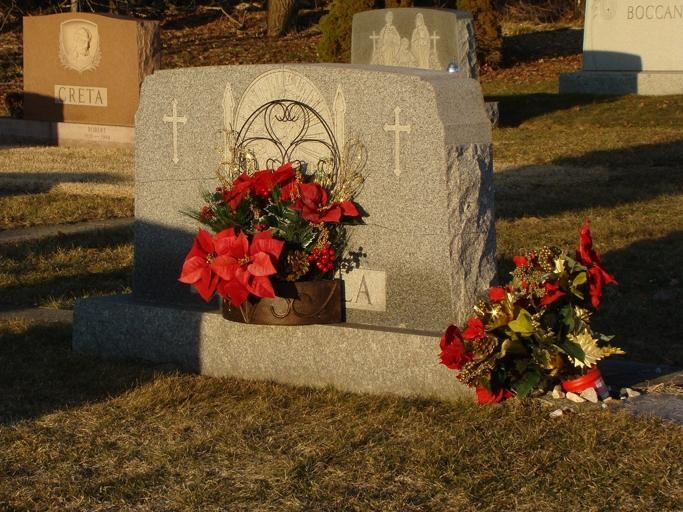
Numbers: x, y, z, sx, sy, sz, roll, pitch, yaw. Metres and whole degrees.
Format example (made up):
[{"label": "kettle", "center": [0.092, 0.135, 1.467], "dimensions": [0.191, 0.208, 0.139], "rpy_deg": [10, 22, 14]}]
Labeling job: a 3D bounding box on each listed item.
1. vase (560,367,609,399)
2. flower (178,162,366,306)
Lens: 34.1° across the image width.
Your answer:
[{"label": "vase", "center": [2.113, 1.110, 9.730], "dimensions": [0.312, 0.261, 0.340], "rpy_deg": [-19, 12, 27]}, {"label": "flower", "center": [-0.682, -0.231, 10.070], "dimensions": [1.326, 1.439, 0.811], "rpy_deg": [11, -31, -1]}]
